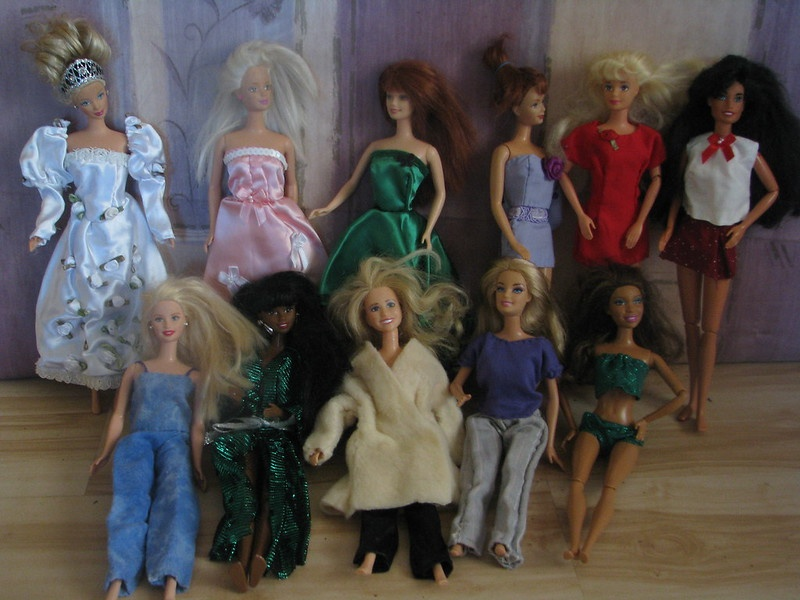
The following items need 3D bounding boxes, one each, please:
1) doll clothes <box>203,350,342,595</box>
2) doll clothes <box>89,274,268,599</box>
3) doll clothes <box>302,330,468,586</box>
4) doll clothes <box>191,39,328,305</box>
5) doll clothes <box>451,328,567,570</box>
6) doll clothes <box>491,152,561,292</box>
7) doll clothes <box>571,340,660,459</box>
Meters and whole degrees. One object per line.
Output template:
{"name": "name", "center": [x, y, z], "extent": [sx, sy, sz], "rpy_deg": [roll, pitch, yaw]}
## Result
{"name": "doll clothes", "center": [-0.817, 1.016, 4.722], "extent": [0.585, 1.272, 0.437], "rpy_deg": [9, -33, -7]}
{"name": "doll clothes", "center": [-1.318, 0.788, 4.584], "extent": [0.921, 1.680, 0.523], "rpy_deg": [10, -26, -25]}
{"name": "doll clothes", "center": [-0.069, 0.968, 4.800], "extent": [0.850, 1.309, 0.402], "rpy_deg": [0, -30, -1]}
{"name": "doll clothes", "center": [-0.927, -0.858, 5.237], "extent": [0.812, 1.607, 0.569], "rpy_deg": [-3, 17, -11]}
{"name": "doll clothes", "center": [0.647, 0.856, 4.715], "extent": [0.629, 0.558, 1.317], "rpy_deg": [2, 46, 16]}
{"name": "doll clothes", "center": [0.853, -0.564, 5.343], "extent": [0.353, 0.805, 0.276], "rpy_deg": [2, 17, 8]}
{"name": "doll clothes", "center": [1.349, 0.630, 5.027], "extent": [0.625, 0.832, 0.379], "rpy_deg": [5, -22, 12]}
